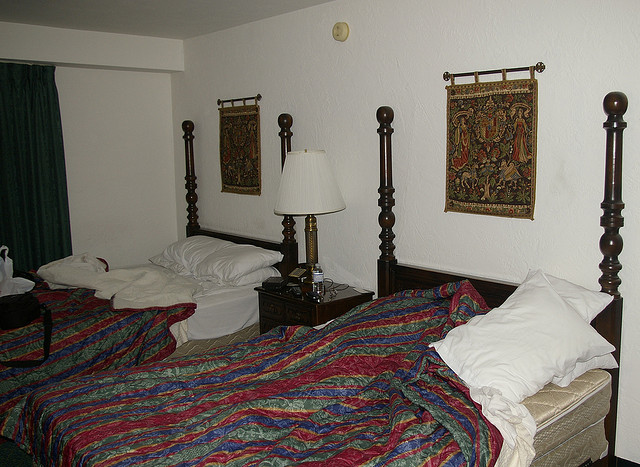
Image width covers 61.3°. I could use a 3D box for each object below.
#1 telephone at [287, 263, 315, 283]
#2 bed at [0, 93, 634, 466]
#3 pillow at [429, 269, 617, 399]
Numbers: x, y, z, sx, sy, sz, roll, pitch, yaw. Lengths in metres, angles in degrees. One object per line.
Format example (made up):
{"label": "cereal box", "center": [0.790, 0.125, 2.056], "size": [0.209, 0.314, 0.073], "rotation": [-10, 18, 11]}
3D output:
{"label": "telephone", "center": [-0.109, 0.321, 4.146], "size": [0.160, 0.117, 0.170], "rotation": [1, 1, -43]}
{"label": "bed", "center": [1.028, 0.121, 4.326], "size": [2.656, 1.880, 2.748], "rotation": [4, 8, 40]}
{"label": "pillow", "center": [1.014, 0.517, 2.750], "size": [0.831, 0.470, 0.413], "rotation": [-4, 10, -26]}
